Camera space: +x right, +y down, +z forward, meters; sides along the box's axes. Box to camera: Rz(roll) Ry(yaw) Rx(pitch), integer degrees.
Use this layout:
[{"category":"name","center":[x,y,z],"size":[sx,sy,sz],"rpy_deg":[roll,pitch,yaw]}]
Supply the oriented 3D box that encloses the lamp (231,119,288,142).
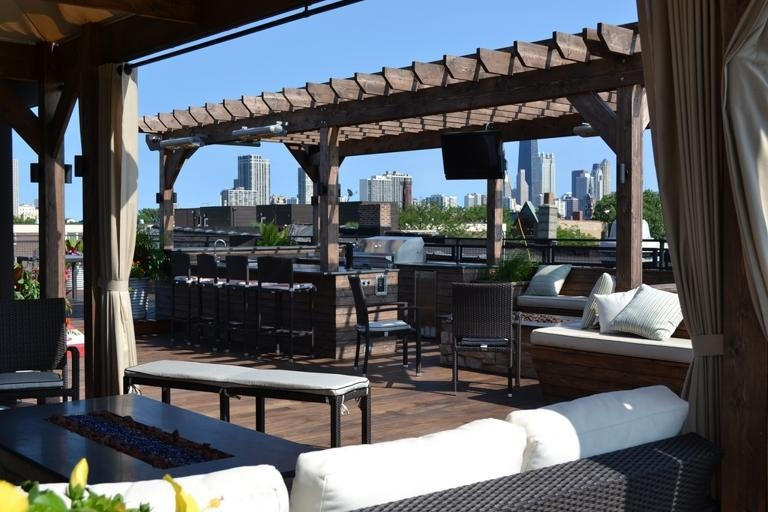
[{"category":"lamp","center":[-1.884,-1.948,10.843],"size":[1.189,0.227,0.388],"rpy_deg":[3,4,43]}]

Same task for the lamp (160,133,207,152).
[{"category":"lamp","center":[-3.392,-1.916,11.837],"size":[0.405,0.195,1.078],"rpy_deg":[-3,4,-43]}]

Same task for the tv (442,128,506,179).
[{"category":"tv","center":[1.271,-1.427,9.915],"size":[0.748,0.584,0.104],"rpy_deg":[5,24,27]}]
